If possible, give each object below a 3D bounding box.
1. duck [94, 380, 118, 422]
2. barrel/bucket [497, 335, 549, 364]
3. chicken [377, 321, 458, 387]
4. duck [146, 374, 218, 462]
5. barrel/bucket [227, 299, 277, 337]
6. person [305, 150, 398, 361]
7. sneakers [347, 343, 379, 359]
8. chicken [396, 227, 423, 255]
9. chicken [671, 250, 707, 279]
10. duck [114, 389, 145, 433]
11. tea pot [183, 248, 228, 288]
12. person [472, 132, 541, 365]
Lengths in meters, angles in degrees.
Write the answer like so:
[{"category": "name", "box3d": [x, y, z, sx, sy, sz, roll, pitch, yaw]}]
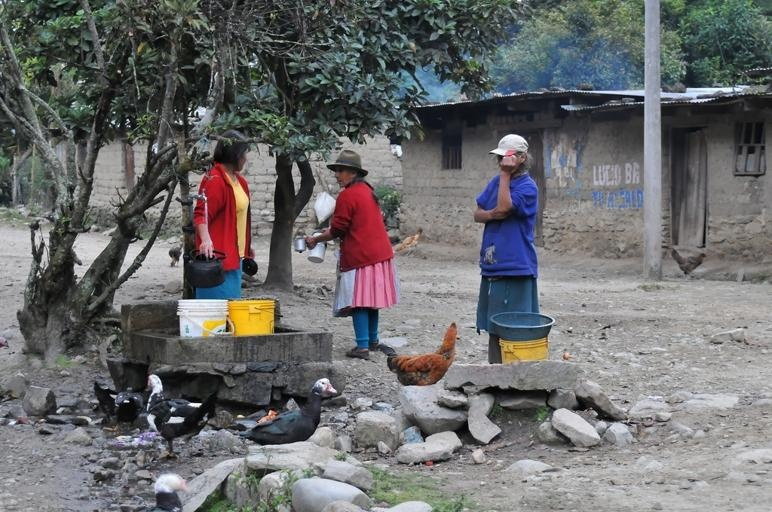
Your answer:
[{"category": "duck", "box3d": [-3.382, 1.727, 12.912, 0.272, 0.463, 0.646, 0, 3, -14]}, {"category": "barrel/bucket", "box3d": [1.560, 1.029, 12.308, 0.388, 0.311, 0.370, -1, 2, 0]}, {"category": "chicken", "box3d": [0.398, 1.202, 12.934, 1.031, 0.812, 0.497, -2, 1, 20]}, {"category": "duck", "box3d": [-2.253, 1.866, 12.601, 1.114, 0.826, 0.858, 0, 4, 3]}, {"category": "barrel/bucket", "box3d": [-1.656, 0.765, 13.102, 0.629, 0.488, 0.572, -1, 1, 0]}, {"category": "person", "box3d": [-0.477, -0.010, 14.210, 1.342, 2.537, 1.185, 0, 1, 23]}, {"category": "sneakers", "box3d": [-0.288, 1.238, 13.949, 0.367, 0.156, 0.157, 4, 5, 11]}, {"category": "chicken", "box3d": [0.579, -0.312, 25.012, 0.980, 0.608, 0.349, -7, 19, -36]}, {"category": "chicken", "box3d": [5.671, 0.125, 20.246, 0.883, 0.655, 0.278, 3, -10, -1]}, {"category": "duck", "box3d": [-3.026, 1.832, 12.658, 0.291, 0.404, 0.461, -2, 3, -37]}, {"category": "tea pot", "box3d": [-2.140, 0.149, 12.731, 0.487, 0.325, 0.429, 3, 26, -3]}, {"category": "person", "box3d": [1.449, -0.143, 12.785, 1.032, 2.373, 1.027, 0, 1, 0]}]
